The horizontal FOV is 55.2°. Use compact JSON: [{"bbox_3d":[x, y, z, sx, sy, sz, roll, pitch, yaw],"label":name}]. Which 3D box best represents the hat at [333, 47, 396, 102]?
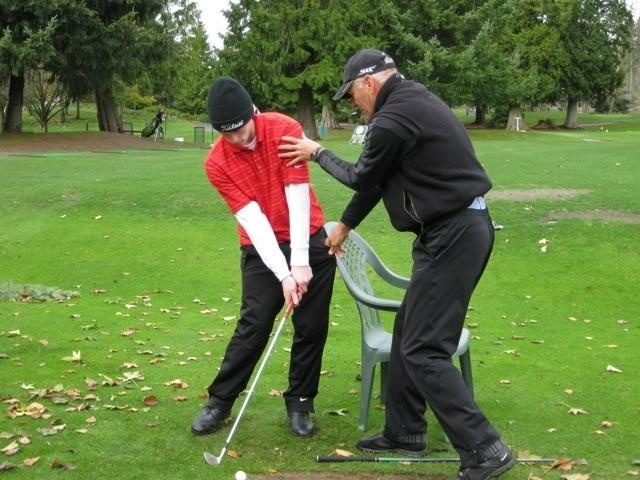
[{"bbox_3d":[0.272,-1.148,4.463,0.517,0.257,0.338,-23,14,19],"label":"hat"}]

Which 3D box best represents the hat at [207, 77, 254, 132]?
[{"bbox_3d":[-0.657,-0.983,4.472,0.305,0.379,0.189,0,15,-6],"label":"hat"}]

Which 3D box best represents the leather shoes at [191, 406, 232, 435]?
[{"bbox_3d":[-0.826,1.354,4.672,0.147,0.119,0.318,10,7,21],"label":"leather shoes"}]

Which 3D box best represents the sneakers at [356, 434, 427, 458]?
[{"bbox_3d":[0.530,1.490,4.567,0.509,0.198,0.175,3,3,8],"label":"sneakers"}]
